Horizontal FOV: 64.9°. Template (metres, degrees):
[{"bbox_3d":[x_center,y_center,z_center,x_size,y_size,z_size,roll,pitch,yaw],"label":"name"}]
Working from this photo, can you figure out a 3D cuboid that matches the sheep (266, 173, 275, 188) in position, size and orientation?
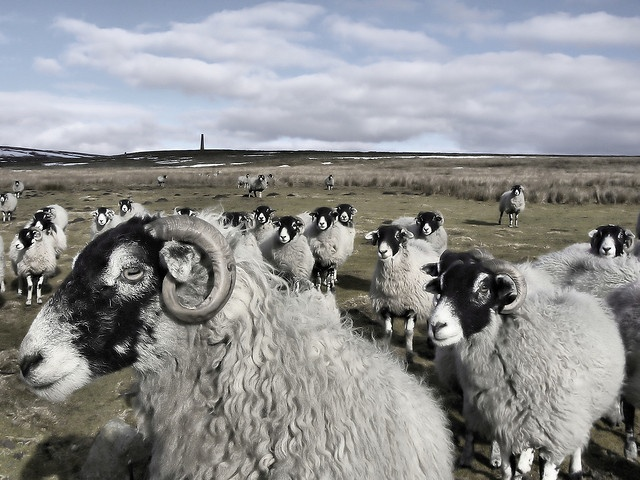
[{"bbox_3d":[-4.215,-5.138,43.550,0.670,1.026,1.403,0,-11,-6],"label":"sheep"}]

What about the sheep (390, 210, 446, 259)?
[{"bbox_3d":[2.815,-0.276,13.283,0.906,1.154,1.836,-1,11,-1],"label":"sheep"}]
